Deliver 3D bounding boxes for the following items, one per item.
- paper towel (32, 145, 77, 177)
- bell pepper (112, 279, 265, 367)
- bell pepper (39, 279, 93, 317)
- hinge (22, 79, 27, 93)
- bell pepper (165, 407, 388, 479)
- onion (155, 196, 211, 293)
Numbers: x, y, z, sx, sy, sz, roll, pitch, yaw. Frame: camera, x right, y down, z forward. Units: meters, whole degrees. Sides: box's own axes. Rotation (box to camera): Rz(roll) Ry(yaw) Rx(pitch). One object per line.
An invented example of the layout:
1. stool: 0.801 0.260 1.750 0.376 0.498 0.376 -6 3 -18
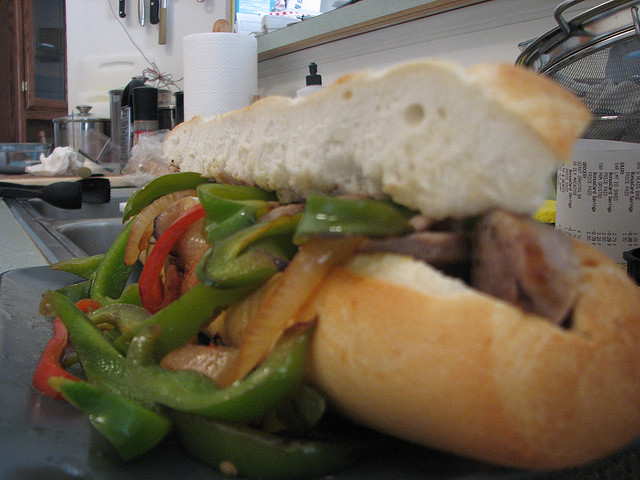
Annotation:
1. paper towel: -0.925 -0.276 1.828 0.142 0.073 0.142 6 26 13
2. bell pepper: -0.074 0.041 0.350 0.127 0.031 0.034 -30 26 -6
3. bell pepper: -0.218 0.050 0.438 0.041 0.029 0.053 -4 11 -23
4. hinge: -2.467 -1.281 4.264 0.057 0.079 0.019 5 7 -22
5. bell pepper: -0.032 0.118 0.290 0.064 0.019 0.055 17 -21 -26
6. onion: -0.108 0.003 0.411 0.023 0.049 0.085 5 40 -39
